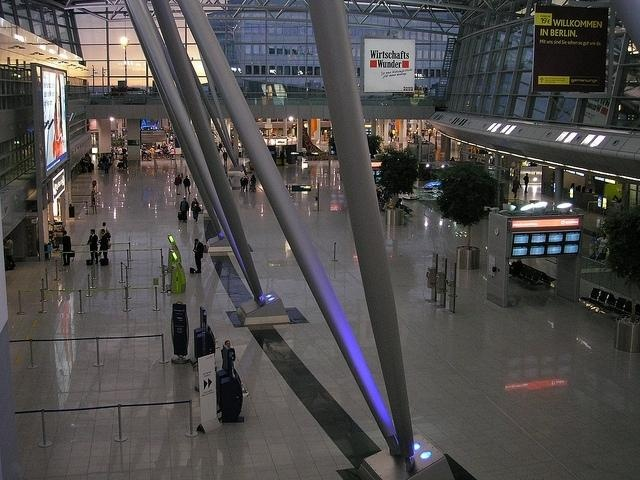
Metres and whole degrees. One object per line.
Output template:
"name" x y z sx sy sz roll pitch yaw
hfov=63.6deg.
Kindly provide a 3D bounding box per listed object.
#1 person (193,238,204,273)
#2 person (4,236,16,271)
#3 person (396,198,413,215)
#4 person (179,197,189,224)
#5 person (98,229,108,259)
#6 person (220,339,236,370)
"person" -5.434 0.579 23.126 0.365 1.468 1.396 -2 13 -13
"person" -14.172 0.502 23.494 0.340 1.330 1.518 -6 14 -30
"person" 5.741 -2.422 35.154 0.694 0.764 2.812 -6 -17 19
"person" -8.781 -2.032 33.199 0.536 1.292 1.545 -2 13 -13
"person" -10.409 0.150 24.868 0.416 1.229 2.129 -4 14 -22
"person" -2.092 2.741 11.828 0.249 0.779 0.841 -2 13 -12
